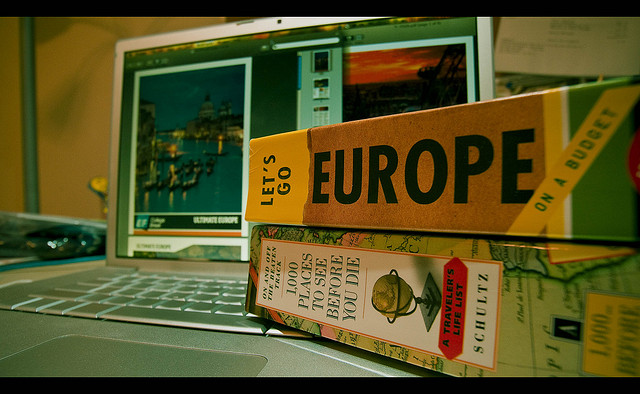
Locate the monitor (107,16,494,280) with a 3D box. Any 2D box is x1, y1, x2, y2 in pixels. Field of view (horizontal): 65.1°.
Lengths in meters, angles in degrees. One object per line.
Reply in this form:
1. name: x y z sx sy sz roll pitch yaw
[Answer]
1. monitor: -0.017 -0.103 1.075 0.691 0.404 0.012 -1 -1 18
